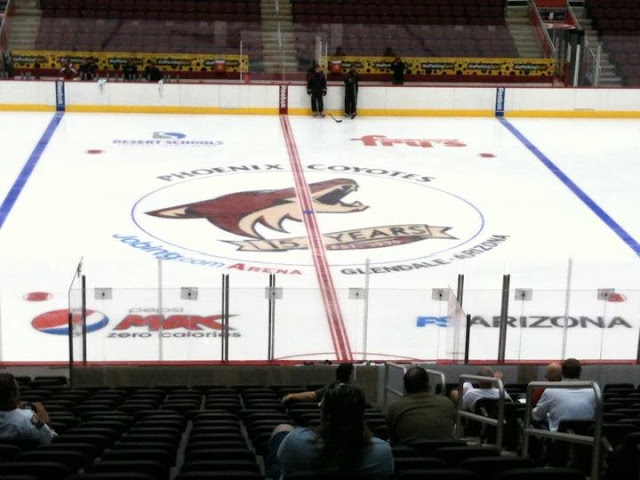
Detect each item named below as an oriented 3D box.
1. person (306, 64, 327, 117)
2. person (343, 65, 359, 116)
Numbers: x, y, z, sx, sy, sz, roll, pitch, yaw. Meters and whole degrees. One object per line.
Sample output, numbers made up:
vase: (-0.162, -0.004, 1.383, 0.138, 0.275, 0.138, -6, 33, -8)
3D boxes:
person: (-0.088, -4.850, 31.417, 0.654, 1.294, 1.678, -1, 0, -1)
person: (1.021, -4.731, 31.104, 0.445, 1.263, 0.939, -1, 0, 0)
